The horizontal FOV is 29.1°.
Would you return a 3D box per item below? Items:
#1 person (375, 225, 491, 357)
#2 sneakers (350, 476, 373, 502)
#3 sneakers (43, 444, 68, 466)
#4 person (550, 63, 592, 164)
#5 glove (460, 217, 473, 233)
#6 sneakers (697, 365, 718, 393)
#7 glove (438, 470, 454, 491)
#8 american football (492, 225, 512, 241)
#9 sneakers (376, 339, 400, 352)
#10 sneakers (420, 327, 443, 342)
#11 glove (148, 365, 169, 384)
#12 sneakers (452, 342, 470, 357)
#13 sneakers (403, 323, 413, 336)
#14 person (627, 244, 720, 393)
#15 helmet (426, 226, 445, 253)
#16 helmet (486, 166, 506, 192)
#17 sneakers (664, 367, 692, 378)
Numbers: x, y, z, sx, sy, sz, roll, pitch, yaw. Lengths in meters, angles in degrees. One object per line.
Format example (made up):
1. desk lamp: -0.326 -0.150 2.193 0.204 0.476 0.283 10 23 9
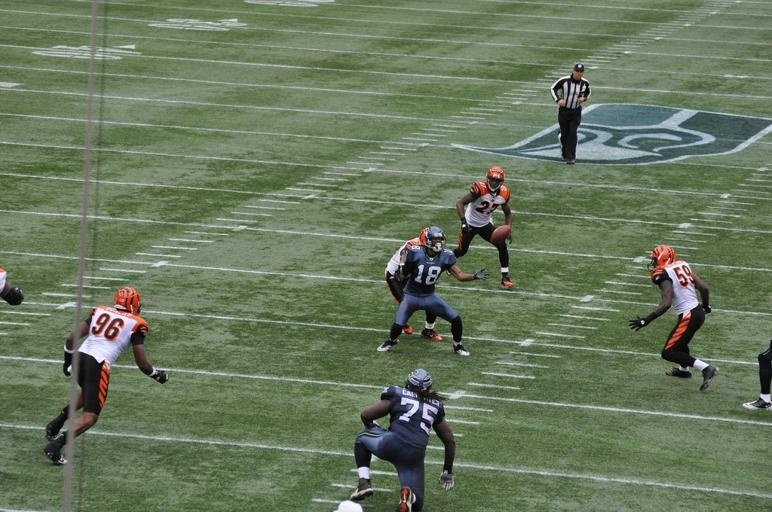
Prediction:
1. person: 0.556 0.512 21.625 1.301 1.852 0.557 2 11 -1
2. sneakers: -0.301 2.921 18.581 0.184 0.199 0.457 22 -33 -27
3. sneakers: -4.276 2.575 19.281 0.250 0.260 0.242 -1 10 -13
4. person: 3.498 -2.759 28.831 0.678 1.903 0.822 3 11 5
5. glove: 1.268 -0.490 23.814 0.237 0.170 0.086 46 30 23
6. sneakers: 4.458 1.713 20.898 0.292 0.432 0.176 18 40 1
7. glove: 0.734 2.850 18.903 0.177 0.219 0.270 2 18 -20
8. american football: 1.758 -0.346 23.152 0.277 0.277 0.350 2 9 2
9. sneakers: 0.004 1.304 21.691 0.410 0.106 0.152 -16 -7 5
10. sneakers: 0.705 1.162 22.150 0.402 0.127 0.136 13 27 17
11. glove: -3.004 1.584 19.781 0.343 0.094 0.236 17 -1 -10
12. sneakers: 1.137 1.367 21.647 0.386 0.179 0.110 10 29 22
13. sneakers: 0.328 1.098 22.252 0.119 0.174 0.181 -40 0 -20
14. person: 4.131 0.863 21.286 1.222 1.965 1.227 4 11 8
15. helmet: 0.687 -0.220 21.518 0.273 0.365 0.229 2 11 1
16. helmet: 1.720 -1.233 23.808 0.245 0.362 0.312 2 10 -2
17. sneakers: 4.140 1.669 21.344 0.389 0.111 0.136 5 8 13
